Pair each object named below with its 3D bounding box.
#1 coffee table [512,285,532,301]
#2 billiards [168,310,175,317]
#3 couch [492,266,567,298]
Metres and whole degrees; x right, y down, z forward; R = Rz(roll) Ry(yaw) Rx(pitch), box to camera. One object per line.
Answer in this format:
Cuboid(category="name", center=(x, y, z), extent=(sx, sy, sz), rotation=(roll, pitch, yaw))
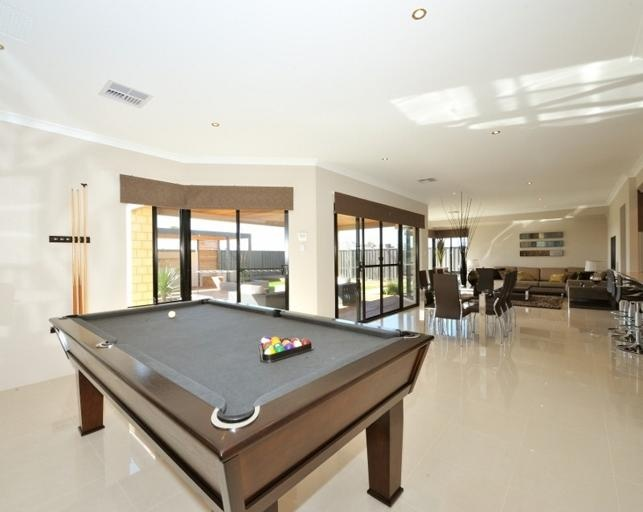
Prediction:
Cuboid(category="coffee table", center=(4.914, 0.914, 10.446), extent=(0.364, 0.188, 0.529), rotation=(-2, -1, 27))
Cuboid(category="billiards", center=(-1.340, 0.520, 3.826), extent=(0.051, 0.028, 0.052), rotation=(37, 6, 10))
Cuboid(category="couch", center=(5.651, 0.686, 11.493), extent=(1.749, 0.750, 0.756), rotation=(2, 0, 23))
